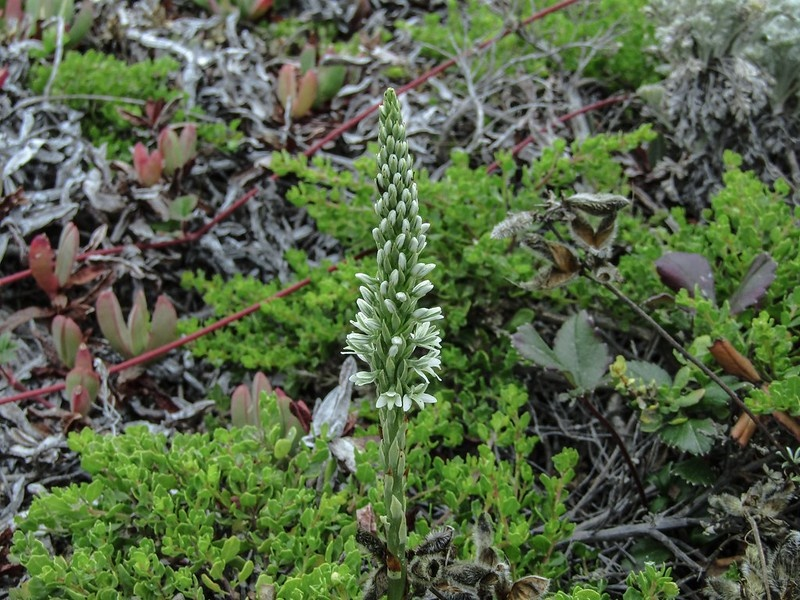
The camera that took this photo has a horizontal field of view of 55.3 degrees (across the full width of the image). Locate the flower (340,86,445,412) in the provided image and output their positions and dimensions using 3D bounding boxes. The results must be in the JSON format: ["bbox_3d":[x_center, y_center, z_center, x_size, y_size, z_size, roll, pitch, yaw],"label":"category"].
[{"bbox_3d":[0.022,-0.056,1.838,0.249,0.757,0.448,9,38,-3],"label":"flower"}]
